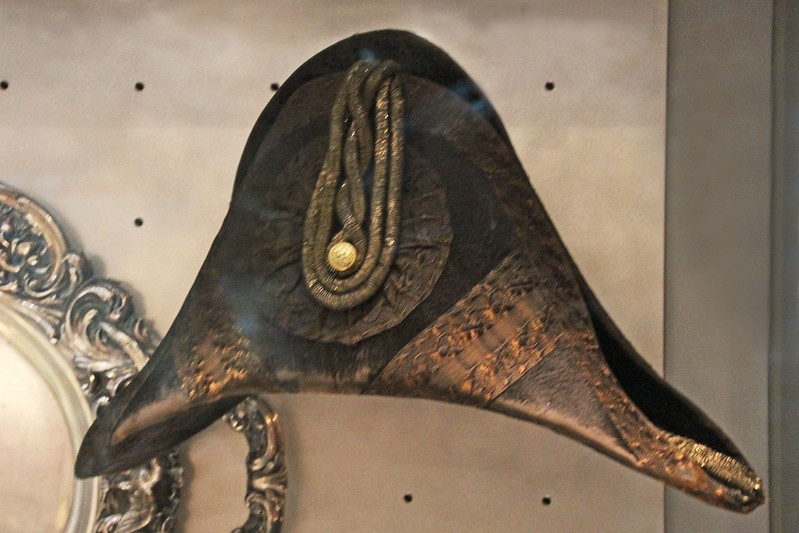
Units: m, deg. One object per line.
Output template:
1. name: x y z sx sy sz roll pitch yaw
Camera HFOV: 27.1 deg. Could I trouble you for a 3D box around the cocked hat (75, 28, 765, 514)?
1. cocked hat: -0.034 -0.007 3.568 1.506 0.397 1.031 -1 -88 17
